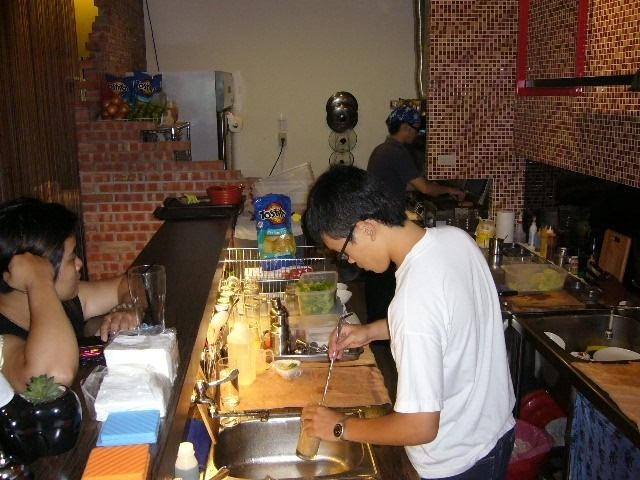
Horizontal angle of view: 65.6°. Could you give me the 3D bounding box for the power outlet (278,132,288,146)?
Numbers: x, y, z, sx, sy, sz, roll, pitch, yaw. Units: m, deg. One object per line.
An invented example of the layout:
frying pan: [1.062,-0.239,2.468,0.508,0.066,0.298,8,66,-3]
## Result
power outlet: [-0.571,-1.535,7.505,0.176,0.273,0.143,1,4,-2]

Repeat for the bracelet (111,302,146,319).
bracelet: [-0.687,0.253,1.776,0.111,0.029,0.114,2,0,9]

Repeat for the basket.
basket: [-0.257,0.213,3.050,0.611,0.218,0.431,-4,-17,-8]

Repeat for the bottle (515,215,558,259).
bottle: [1.686,-0.018,3.843,0.124,0.414,0.292,1,8,1]

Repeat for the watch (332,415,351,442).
watch: [0.063,0.586,1.535,0.044,0.074,0.067,-1,-24,26]

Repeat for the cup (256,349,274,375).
cup: [-0.263,0.568,2.333,0.105,0.110,0.062,0,2,-32]

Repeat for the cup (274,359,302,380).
cup: [-0.152,0.592,2.298,0.138,0.059,0.128,0,12,0]

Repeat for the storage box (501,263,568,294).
storage box: [1.380,0.244,3.202,0.233,0.085,0.209,-1,12,3]

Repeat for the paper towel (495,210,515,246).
paper towel: [1.474,-0.114,3.979,0.154,0.210,0.160,6,5,16]

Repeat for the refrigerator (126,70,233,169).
refrigerator: [-1.474,-1.520,6.308,0.766,1.120,0.604,-4,18,-3]

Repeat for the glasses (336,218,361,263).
glasses: [0.066,-0.003,1.509,0.024,0.093,0.087,25,-2,19]

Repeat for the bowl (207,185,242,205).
bowl: [-0.594,-0.285,3.102,0.218,0.104,0.233,0,12,0]

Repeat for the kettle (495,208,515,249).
kettle: [1.492,-0.095,3.976,0.125,0.227,0.126,0,25,-16]

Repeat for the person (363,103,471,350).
person: [0.942,-0.378,5.076,0.771,1.891,0.713,0,31,14]

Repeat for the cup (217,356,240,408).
cup: [-0.384,0.619,2.104,0.092,0.167,0.093,-3,-3,0]

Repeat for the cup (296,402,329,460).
cup: [-0.040,0.673,1.714,0.060,0.219,0.056,3,35,-2]

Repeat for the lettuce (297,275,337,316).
lettuce: [-0.020,0.281,2.559,0.148,0.100,0.226,-1,7,2]

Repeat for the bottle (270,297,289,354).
bottle: [-0.197,0.422,2.439,0.088,0.247,0.147,-1,12,-3]

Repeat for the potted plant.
potted plant: [-0.631,0.397,1.141,0.125,0.178,0.131,-6,8,-13]

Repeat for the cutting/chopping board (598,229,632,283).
cutting/chopping board: [1.909,0.107,3.198,0.040,0.327,0.276,7,10,-8]
